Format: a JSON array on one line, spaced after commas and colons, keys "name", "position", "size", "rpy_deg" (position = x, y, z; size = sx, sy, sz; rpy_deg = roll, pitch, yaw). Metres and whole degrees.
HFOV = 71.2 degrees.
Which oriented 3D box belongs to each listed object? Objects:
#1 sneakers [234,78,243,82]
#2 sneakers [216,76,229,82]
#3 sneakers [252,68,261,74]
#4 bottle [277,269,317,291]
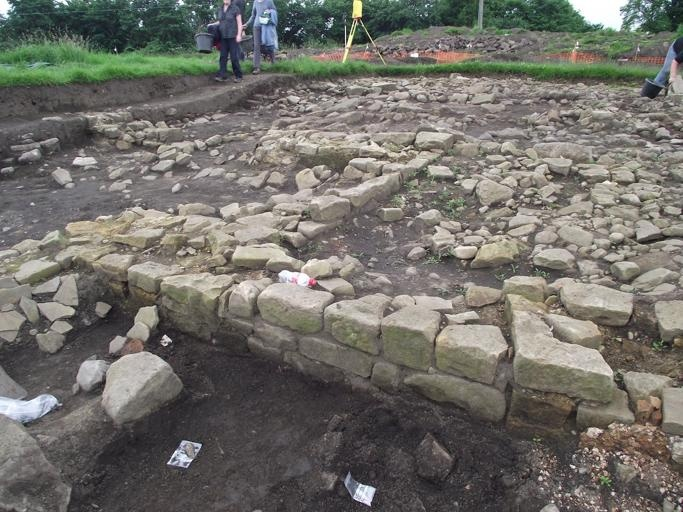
[{"name": "sneakers", "position": [-2.465, -4.191, 11.367], "size": [0.098, 0.072, 0.175], "rpy_deg": [-4, 11, -3]}, {"name": "sneakers", "position": [-2.902, -4.318, 11.648], "size": [0.291, 0.119, 0.101], "rpy_deg": [-1, 7, -20]}, {"name": "sneakers", "position": [-2.121, -4.602, 11.891], "size": [0.116, 0.083, 0.259], "rpy_deg": [6, 6, -17]}, {"name": "bottle", "position": [-0.460, 0.239, 4.867], "size": [0.357, 0.101, 0.156], "rpy_deg": [8, 49, 12]}]
